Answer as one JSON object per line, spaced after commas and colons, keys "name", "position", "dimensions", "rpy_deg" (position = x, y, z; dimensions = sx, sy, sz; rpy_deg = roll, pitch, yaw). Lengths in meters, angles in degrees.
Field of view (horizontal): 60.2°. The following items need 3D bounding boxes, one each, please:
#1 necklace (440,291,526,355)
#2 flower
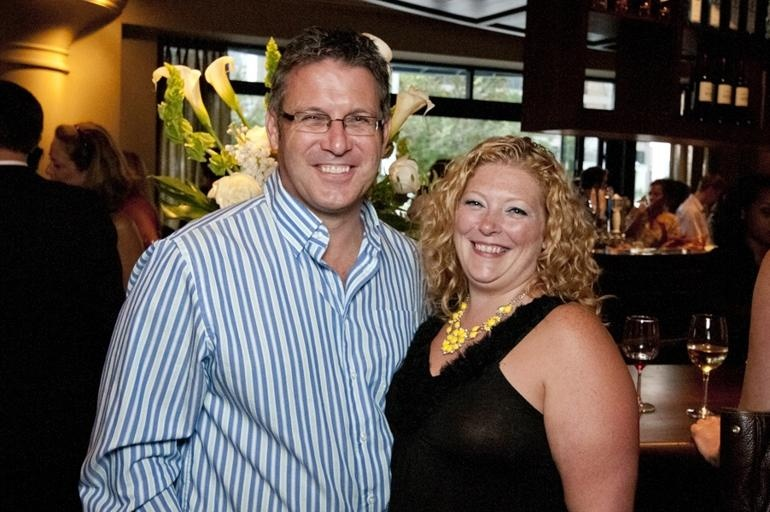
{"name": "necklace", "position": [0.348, 0.269, 2.461], "dimensions": [0.271, 0.019, 0.240], "rpy_deg": [-39, 13, -5]}
{"name": "flower", "position": [-0.477, -0.442, 2.631], "dimensions": [0.941, 0.484, 0.942], "rpy_deg": [5, 11, 33]}
